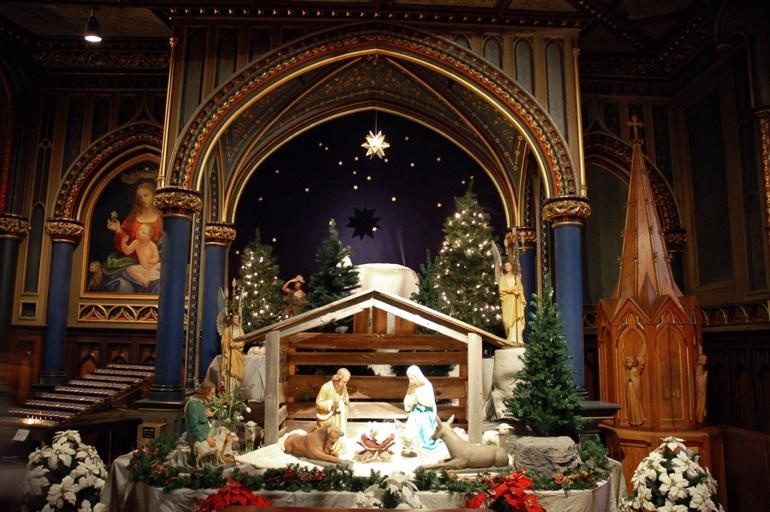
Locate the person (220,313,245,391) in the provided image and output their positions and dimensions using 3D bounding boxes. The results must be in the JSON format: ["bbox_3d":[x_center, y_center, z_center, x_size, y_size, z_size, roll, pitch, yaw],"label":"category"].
[{"bbox_3d":[-3.151,1.962,14.791,0.529,1.686,0.996,4,-14,-11],"label":"person"}]

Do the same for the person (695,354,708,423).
[{"bbox_3d":[6.553,2.738,14.887,0.261,1.410,0.877,-4,-15,23],"label":"person"}]

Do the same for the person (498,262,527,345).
[{"bbox_3d":[2.782,1.019,15.792,0.509,1.890,0.665,-9,-17,37],"label":"person"}]

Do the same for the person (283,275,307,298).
[{"bbox_3d":[-2.360,0.766,18.486,0.485,0.752,0.260,-1,-17,2],"label":"person"}]

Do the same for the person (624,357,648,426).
[{"bbox_3d":[5.070,2.733,14.582,0.359,1.327,0.263,-2,-14,15],"label":"person"}]
